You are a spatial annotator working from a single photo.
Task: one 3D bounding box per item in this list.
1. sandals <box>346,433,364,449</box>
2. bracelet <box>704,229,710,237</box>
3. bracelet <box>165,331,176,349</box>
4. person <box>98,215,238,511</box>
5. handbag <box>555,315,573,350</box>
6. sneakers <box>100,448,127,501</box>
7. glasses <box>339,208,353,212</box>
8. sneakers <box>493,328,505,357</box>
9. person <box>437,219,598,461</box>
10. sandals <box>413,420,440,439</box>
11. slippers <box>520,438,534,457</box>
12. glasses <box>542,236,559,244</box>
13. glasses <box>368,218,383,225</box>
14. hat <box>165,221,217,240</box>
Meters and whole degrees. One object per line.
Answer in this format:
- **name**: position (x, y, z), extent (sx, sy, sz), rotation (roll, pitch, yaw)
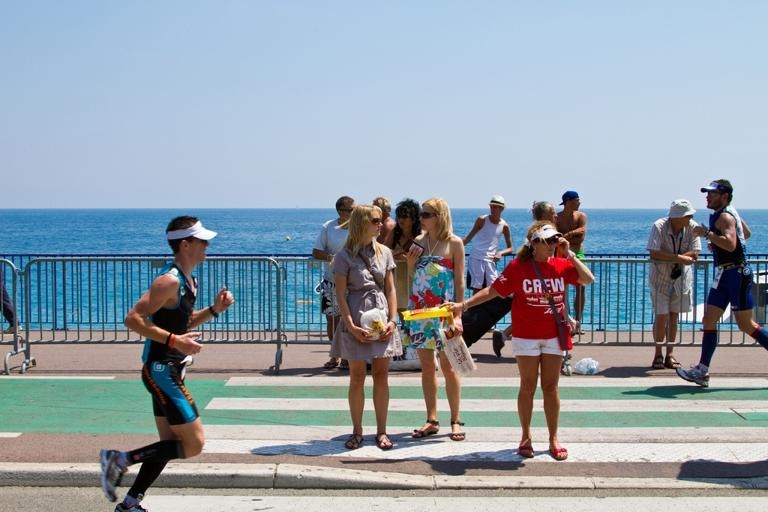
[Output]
- **sandals**: position (-0.342, 2.207, 12.782), extent (0.151, 0.129, 0.366), rotation (0, -7, -1)
- **bracelet**: position (4.458, -0.318, 14.703), extent (0.101, 0.080, 0.109), rotation (-1, 4, 6)
- **bracelet**: position (-2.220, 0.876, 11.144), extent (0.111, 0.162, 0.131), rotation (-2, 5, -8)
- **person**: position (-2.304, 1.165, 11.339), extent (1.420, 3.162, 0.791), rotation (-3, 5, -16)
- **handbag**: position (2.093, 0.893, 12.370), extent (0.163, 0.391, 0.184), rotation (2, 6, 37)
- **sneakers**: position (-2.798, 2.269, 11.390), extent (0.324, 0.577, 0.217), rotation (-3, 7, 14)
- **glasses**: position (-0.552, -0.671, 15.505), extent (0.154, 0.039, 0.148), rotation (0, 0, -34)
- **sneakers**: position (1.802, 1.355, 16.748), extent (0.215, 0.417, 0.159), rotation (-10, 20, -26)
- **person**: position (1.797, 0.990, 12.495), extent (1.276, 2.750, 0.399), rotation (-1, 5, 4)
- **sandals**: position (0.501, 2.122, 13.082), extent (0.419, 0.140, 0.148), rotation (1, -7, -42)
- **slippers**: position (1.668, 2.244, 12.534), extent (0.219, 0.116, 0.500), rotation (1, 5, 4)
- **glasses**: position (1.927, -0.195, 12.301), extent (0.135, 0.054, 0.093), rotation (-7, 4, -11)
- **glasses**: position (-0.086, -0.415, 12.672), extent (0.147, 0.076, 0.029), rotation (-5, 6, -44)
- **hat**: position (-2.055, -0.262, 11.444), extent (0.447, 0.130, 0.247), rotation (-3, 5, -12)
